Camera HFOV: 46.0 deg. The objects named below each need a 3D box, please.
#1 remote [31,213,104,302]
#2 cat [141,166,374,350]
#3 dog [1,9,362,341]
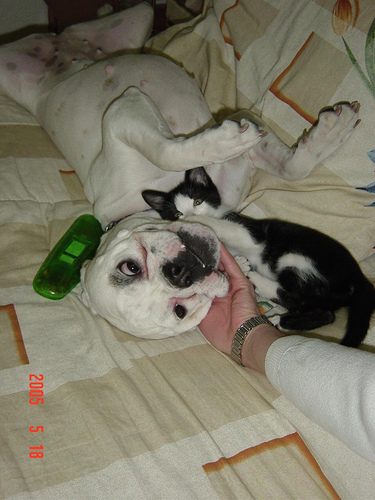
[{"bbox_3d":[-0.505,0.027,1.877,0.194,0.125,0.390,40,62,-24],"label":"remote"},{"bbox_3d":[0.385,0.012,1.900,1.186,0.551,0.430,24,54,14],"label":"cat"},{"bbox_3d":[-0.284,-0.410,2.151,1.498,0.634,1.562,-19,75,-21],"label":"dog"}]
